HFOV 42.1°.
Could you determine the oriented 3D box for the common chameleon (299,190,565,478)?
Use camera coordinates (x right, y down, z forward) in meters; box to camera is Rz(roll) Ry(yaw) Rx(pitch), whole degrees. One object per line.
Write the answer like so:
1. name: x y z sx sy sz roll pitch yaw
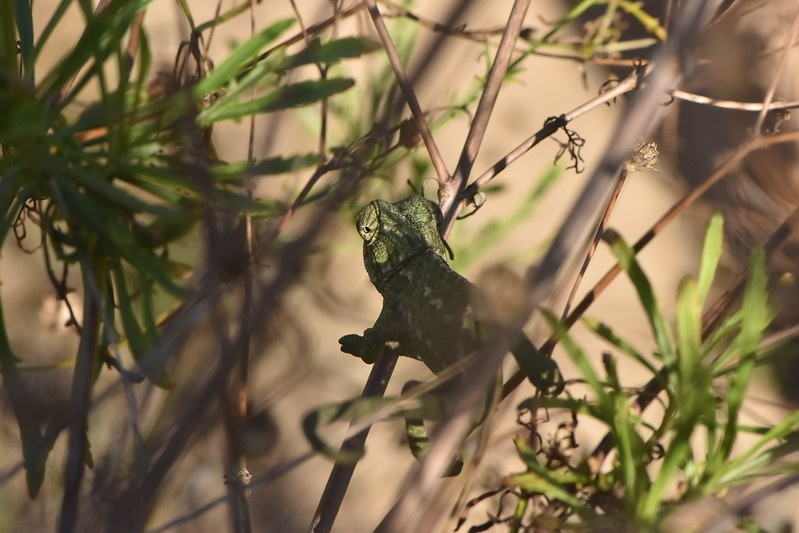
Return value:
1. common chameleon: 0.078 0.056 2.513 0.426 0.705 0.278 -17 -43 3
